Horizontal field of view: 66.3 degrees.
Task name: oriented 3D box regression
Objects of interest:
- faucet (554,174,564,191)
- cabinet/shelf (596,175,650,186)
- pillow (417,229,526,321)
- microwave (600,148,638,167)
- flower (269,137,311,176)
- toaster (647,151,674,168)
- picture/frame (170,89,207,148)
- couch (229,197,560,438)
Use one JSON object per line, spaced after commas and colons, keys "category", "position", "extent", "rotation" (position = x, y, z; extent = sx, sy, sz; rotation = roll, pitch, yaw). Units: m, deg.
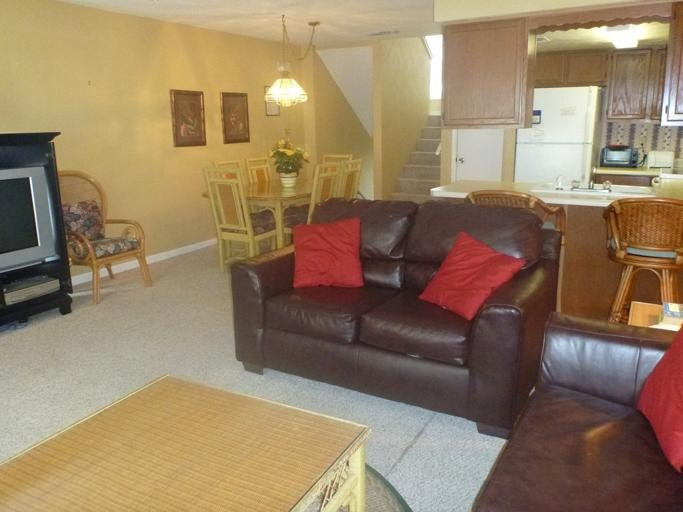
{"category": "faucet", "position": [1.970, -0.659, 4.719], "extent": [0.072, 0.116, 0.256], "rotation": [5, 15, 20]}
{"category": "cabinet/shelf", "position": [3.449, -0.930, 6.409], "extent": [0.618, 0.127, 0.230], "rotation": [4, 15, 20]}
{"category": "pillow", "position": [0.776, 0.105, 3.121], "extent": [0.434, 0.403, 0.475], "rotation": [-10, 17, -30]}
{"category": "microwave", "position": [3.520, -1.251, 6.658], "extent": [0.492, 0.280, 0.269], "rotation": [6, 13, 36]}
{"category": "flower", "position": [-0.597, -1.079, 5.910], "extent": [0.543, 0.332, 0.501], "rotation": [2, 12, -11]}
{"category": "toaster", "position": [3.993, -1.201, 6.553], "extent": [0.305, 0.207, 0.216], "rotation": [6, 17, 26]}
{"category": "picture/frame", "position": [-1.860, -1.657, 6.261], "extent": [0.075, 0.722, 0.720], "rotation": [8, 17, 30]}
{"category": "couch", "position": [0.345, 0.251, 3.457], "extent": [1.972, 1.040, 1.098], "rotation": [6, 21, 30]}
